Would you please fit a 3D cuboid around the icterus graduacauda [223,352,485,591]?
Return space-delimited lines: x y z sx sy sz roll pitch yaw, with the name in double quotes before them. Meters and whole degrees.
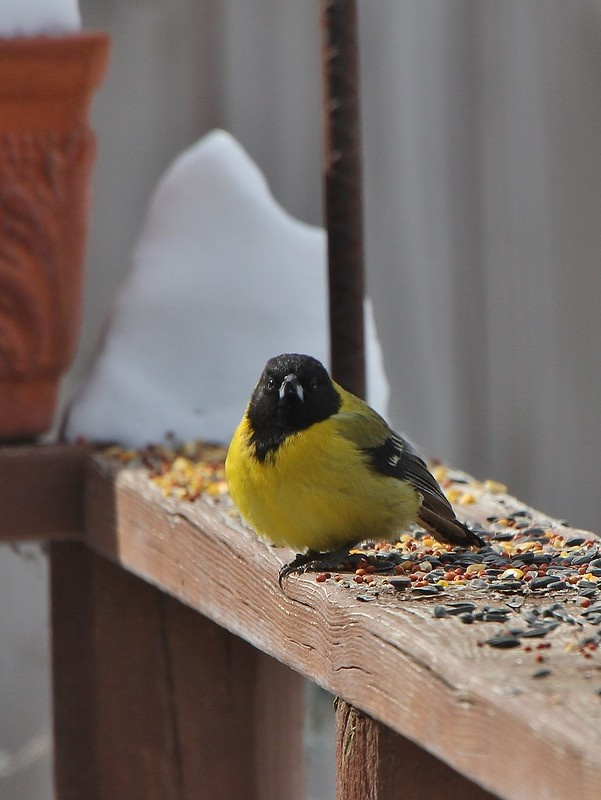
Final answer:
"icterus graduacauda" 0.114 0.161 2.331 0.638 0.451 0.360 4 -11 -42
